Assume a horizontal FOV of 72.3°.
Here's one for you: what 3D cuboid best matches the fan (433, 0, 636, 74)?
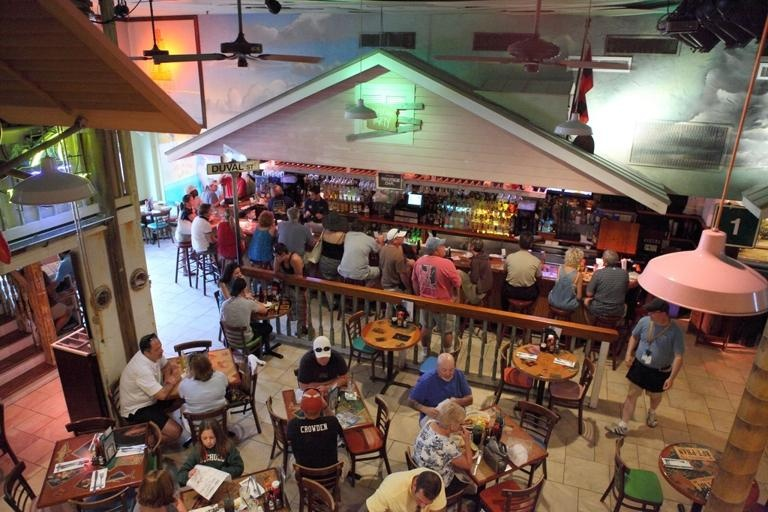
[{"bbox_3d":[3.280,-4.534,10.867,3.104,1.167,2.927,-4,24,-12],"label":"fan"}]

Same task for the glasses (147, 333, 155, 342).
[{"bbox_3d":[-3.367,1.196,7.689,0.119,0.099,0.093,-20,28,-20],"label":"glasses"}]

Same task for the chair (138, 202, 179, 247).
[{"bbox_3d":[-6.286,-0.968,14.761,0.905,1.169,1.103,-6,17,-21],"label":"chair"}]

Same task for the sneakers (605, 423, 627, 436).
[{"bbox_3d":[3.613,2.711,8.177,0.281,0.183,0.093,14,34,33],"label":"sneakers"}]

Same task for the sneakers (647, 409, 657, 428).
[{"bbox_3d":[4.262,2.604,8.378,0.151,0.132,0.313,1,45,20],"label":"sneakers"}]

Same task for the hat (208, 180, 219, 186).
[{"bbox_3d":[-4.540,-1.977,13.999,0.127,0.230,0.230,20,12,12],"label":"hat"}]

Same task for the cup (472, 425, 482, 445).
[{"bbox_3d":[1.197,2.328,6.776,0.162,0.208,0.143,11,28,25],"label":"cup"}]

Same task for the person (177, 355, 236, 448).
[{"bbox_3d":[-2.632,2.007,7.730,0.684,1.453,0.822,-8,29,-24],"label":"person"}]

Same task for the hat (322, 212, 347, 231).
[{"bbox_3d":[-1.001,-0.670,10.563,0.494,0.158,0.467,0,40,-5],"label":"hat"}]

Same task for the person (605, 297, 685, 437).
[{"bbox_3d":[3.979,1.702,7.899,0.783,2.224,0.541,9,19,29],"label":"person"}]

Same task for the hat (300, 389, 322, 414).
[{"bbox_3d":[-0.880,1.768,6.380,0.252,0.289,0.246,1,-1,-10],"label":"hat"}]

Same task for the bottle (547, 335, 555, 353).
[{"bbox_3d":[2.606,1.390,8.210,0.119,0.340,0.112,-10,33,7],"label":"bottle"}]

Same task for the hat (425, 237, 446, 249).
[{"bbox_3d":[0.933,-0.195,9.239,0.298,0.172,0.198,-35,31,-21],"label":"hat"}]

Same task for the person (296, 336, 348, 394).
[{"bbox_3d":[-0.871,1.504,7.635,0.639,0.663,0.804,-3,35,-12],"label":"person"}]

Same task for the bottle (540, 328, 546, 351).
[{"bbox_3d":[2.541,1.334,8.301,0.094,0.272,0.231,4,16,15],"label":"bottle"}]

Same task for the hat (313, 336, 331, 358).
[{"bbox_3d":[-0.888,1.308,7.556,0.219,0.153,0.297,-3,20,-8],"label":"hat"}]

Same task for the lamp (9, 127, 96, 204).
[{"bbox_3d":[-3.676,-0.864,5.834,0.844,0.399,0.815,-10,29,-23],"label":"lamp"}]

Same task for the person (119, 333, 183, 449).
[{"bbox_3d":[-3.413,2.020,7.648,0.917,1.579,0.938,-2,41,-17],"label":"person"}]

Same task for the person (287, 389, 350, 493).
[{"bbox_3d":[-0.850,2.346,6.503,0.643,1.426,0.405,-2,17,-5],"label":"person"}]

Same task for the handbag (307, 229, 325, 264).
[{"bbox_3d":[-1.399,-0.158,10.826,0.220,0.815,0.487,21,29,-9],"label":"handbag"}]

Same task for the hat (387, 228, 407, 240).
[{"bbox_3d":[0.242,-0.401,9.902,0.355,0.135,0.227,-18,14,-31],"label":"hat"}]

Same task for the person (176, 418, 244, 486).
[{"bbox_3d":[-2.200,2.455,6.604,0.766,0.710,0.389,-7,17,-22],"label":"person"}]

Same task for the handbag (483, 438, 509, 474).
[{"bbox_3d":[1.397,2.536,6.608,0.182,0.308,0.339,-9,17,-19],"label":"handbag"}]

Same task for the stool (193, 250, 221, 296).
[{"bbox_3d":[-4.016,0.409,12.003,0.537,0.882,0.520,-19,47,-27],"label":"stool"}]

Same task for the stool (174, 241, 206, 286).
[{"bbox_3d":[-4.746,0.189,12.552,0.643,0.843,0.626,11,24,43],"label":"stool"}]
